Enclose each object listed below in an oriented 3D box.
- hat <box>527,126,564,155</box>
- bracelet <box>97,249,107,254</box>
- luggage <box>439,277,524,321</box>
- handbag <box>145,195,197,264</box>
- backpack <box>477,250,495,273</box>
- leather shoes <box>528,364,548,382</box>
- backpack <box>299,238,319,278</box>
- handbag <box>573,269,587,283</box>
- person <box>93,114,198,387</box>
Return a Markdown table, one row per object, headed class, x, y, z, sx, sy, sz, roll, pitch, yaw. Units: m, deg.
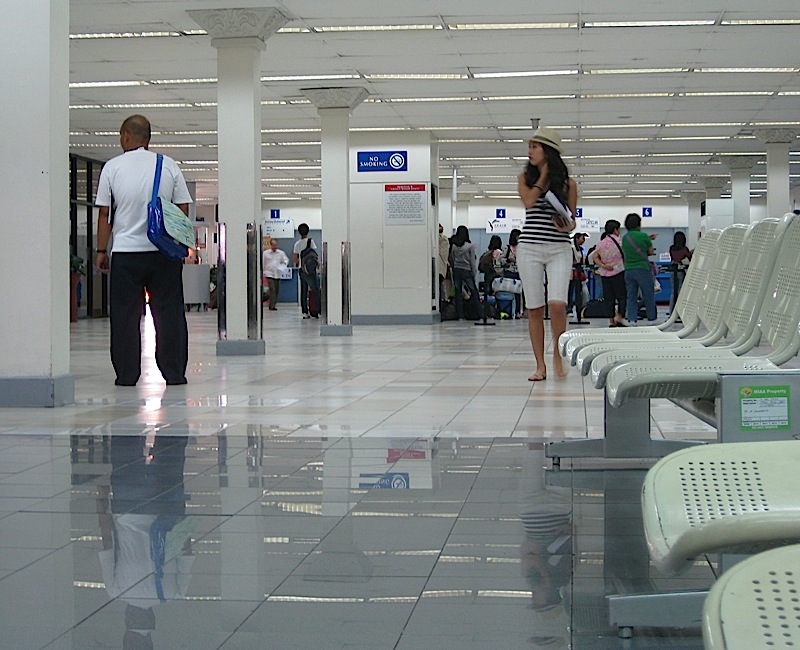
| class | x | y | z | sx | sy | sz | roll | pitch | yaw |
| --- | --- | --- | --- | --- | --- | --- | --- | --- | --- |
| hat | 1.141 | -1.437 | 5.962 | 0.231 | 0.211 | 0.324 | 0 | 3 | 13 |
| bracelet | -2.338 | -0.562 | 5.944 | 0.048 | 0.020 | 0.055 | 0 | 2 | 2 |
| luggage | 1.791 | -0.517 | 16.470 | 1.350 | 0.525 | 1.026 | -3 | -8 | 16 |
| handbag | -1.809 | -0.768 | 6.007 | 0.243 | 0.454 | 0.366 | -13 | -15 | 28 |
| backpack | 1.760 | -1.290 | 15.792 | 0.279 | 0.453 | 0.450 | -1 | 3 | -15 |
| leather shoes | 1.153 | 0.421 | 6.413 | 0.099 | 0.160 | 0.212 | -2 | -5 | 21 |
| backpack | -2.021 | -1.458 | 16.862 | 0.387 | 0.881 | 0.753 | -1 | 2 | -8 |
| handbag | 3.468 | -0.899 | 14.746 | 0.255 | 0.288 | 0.197 | 1 | -10 | 2 |
| person | -2.038 | -0.577 | 6.058 | 0.719 | 2.203 | 0.575 | -1 | 2 | -21 |
